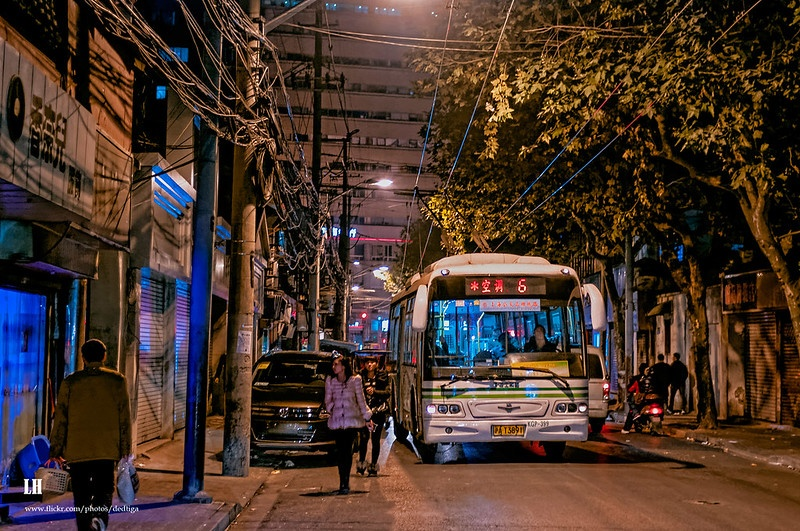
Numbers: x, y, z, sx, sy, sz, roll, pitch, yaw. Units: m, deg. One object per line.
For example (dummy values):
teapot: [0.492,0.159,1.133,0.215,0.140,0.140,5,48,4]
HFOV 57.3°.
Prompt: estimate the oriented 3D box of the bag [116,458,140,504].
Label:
bag: [-3.372,2.680,9.075,0.183,0.554,0.375,-1,5,-8]

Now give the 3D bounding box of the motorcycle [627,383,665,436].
motorcycle: [7.343,4.385,21.813,0.790,1.107,1.738,2,-10,1]

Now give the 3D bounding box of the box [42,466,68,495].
box: [-4.172,2.582,8.834,0.265,0.284,0.361,5,-17,-19]

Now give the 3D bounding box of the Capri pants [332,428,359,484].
Capri pants: [-1.004,3.486,13.210,0.415,1.015,0.750,1,-15,-4]

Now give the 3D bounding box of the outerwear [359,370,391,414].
outerwear: [-0.520,2.762,15.773,0.573,0.756,0.838,0,-31,-3]

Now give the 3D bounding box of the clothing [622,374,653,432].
clothing: [7.255,3.999,21.662,0.813,1.125,1.670,8,-4,12]
